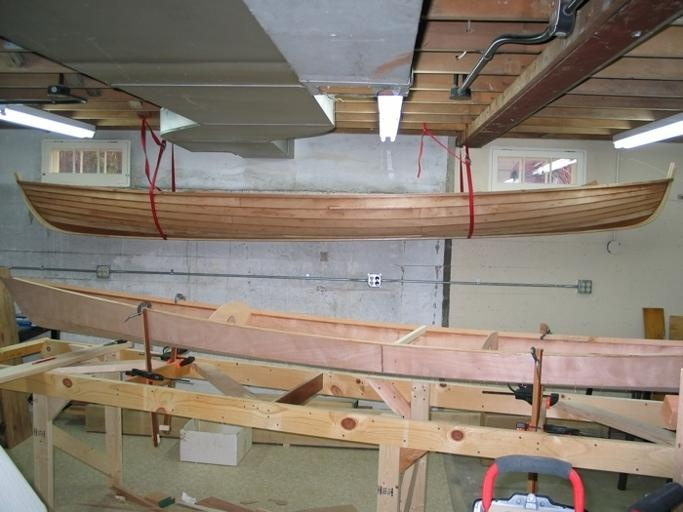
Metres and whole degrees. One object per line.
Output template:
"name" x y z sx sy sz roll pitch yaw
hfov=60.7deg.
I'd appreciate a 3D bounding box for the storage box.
"storage box" -1.041 1.518 4.786 0.623 0.614 0.163 -1 -97 41
